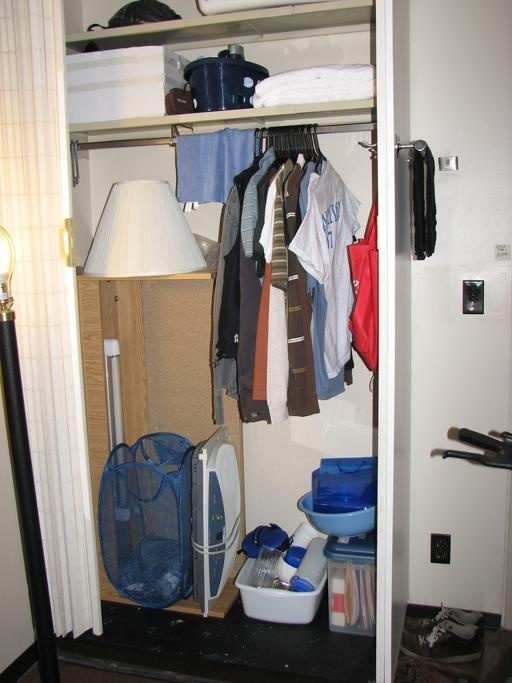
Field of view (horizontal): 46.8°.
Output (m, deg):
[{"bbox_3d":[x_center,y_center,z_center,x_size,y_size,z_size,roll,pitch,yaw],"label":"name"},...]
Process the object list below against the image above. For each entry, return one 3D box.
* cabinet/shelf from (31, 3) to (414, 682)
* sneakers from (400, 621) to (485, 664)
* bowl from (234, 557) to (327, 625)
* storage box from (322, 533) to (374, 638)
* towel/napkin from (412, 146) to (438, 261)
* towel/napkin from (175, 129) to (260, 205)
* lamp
[{"bbox_3d":[-0.119,-0.043,2.049,1.296,2.086,0.759,2,10,19],"label":"cabinet/shelf"},{"bbox_3d":[0.653,1.049,2.068,0.198,0.092,0.129,-4,12,16],"label":"sneakers"},{"bbox_3d":[0.150,0.891,2.160,0.262,0.115,0.246,6,4,0],"label":"bowl"},{"bbox_3d":[0.313,0.868,2.134,0.218,0.347,0.247,-1,-4,5],"label":"storage box"},{"bbox_3d":[0.518,-0.430,1.810,0.065,0.407,0.286,1,11,19],"label":"towel/napkin"},{"bbox_3d":[-0.127,-0.619,2.083,0.278,0.285,0.060,3,10,25],"label":"towel/napkin"},{"bbox_3d":[-0.393,-0.334,2.020,0.327,0.265,0.303,-5,5,43],"label":"lamp"}]
